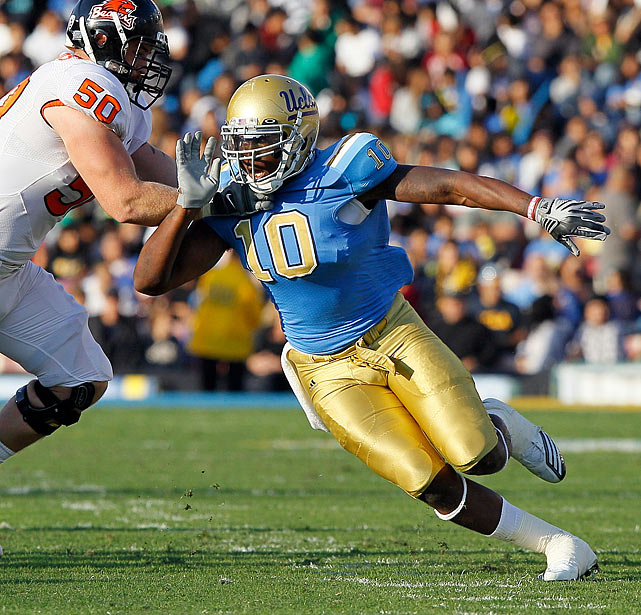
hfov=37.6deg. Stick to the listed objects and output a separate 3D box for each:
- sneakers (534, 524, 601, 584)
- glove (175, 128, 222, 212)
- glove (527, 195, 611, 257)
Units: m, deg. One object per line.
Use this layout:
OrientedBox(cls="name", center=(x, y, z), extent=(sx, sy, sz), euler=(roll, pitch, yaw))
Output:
OrientedBox(cls="sneakers", center=(0.665, 0.703, 2.555), extent=(0.147, 0.118, 0.172), euler=(17, 39, 21))
OrientedBox(cls="glove", center=(-0.321, -0.361, 2.463), extent=(0.118, 0.165, 0.205), euler=(-3, 36, -5))
OrientedBox(cls="glove", center=(0.677, -0.225, 2.424), extent=(0.199, 0.146, 0.062), euler=(30, 61, 15))
